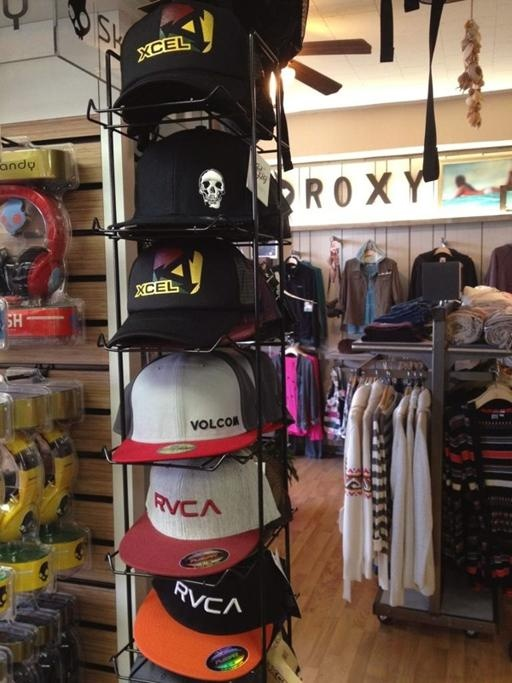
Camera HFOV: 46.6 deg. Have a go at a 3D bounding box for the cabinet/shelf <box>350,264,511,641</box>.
[{"bbox_3d":[0.690,0.424,2.358,0.571,1.452,0.346,0,3,9],"label":"cabinet/shelf"}]

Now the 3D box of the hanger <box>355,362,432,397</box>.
[{"bbox_3d":[0.677,0.157,2.872,0.237,0.110,0.237,1,5,17],"label":"hanger"}]

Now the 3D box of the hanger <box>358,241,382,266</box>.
[{"bbox_3d":[0.937,-0.722,4.882,0.155,0.225,0.088,-3,-38,10],"label":"hanger"}]

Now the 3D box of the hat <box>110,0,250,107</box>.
[{"bbox_3d":[-0.133,-0.577,1.242,0.205,0.165,0.280,5,27,15],"label":"hat"}]

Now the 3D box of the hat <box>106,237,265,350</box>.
[{"bbox_3d":[-0.152,-0.098,1.234,0.294,0.231,0.256,-1,3,-1],"label":"hat"}]

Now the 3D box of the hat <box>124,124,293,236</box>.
[{"bbox_3d":[-0.092,-0.313,1.235,0.274,0.175,0.209,6,8,44],"label":"hat"}]
